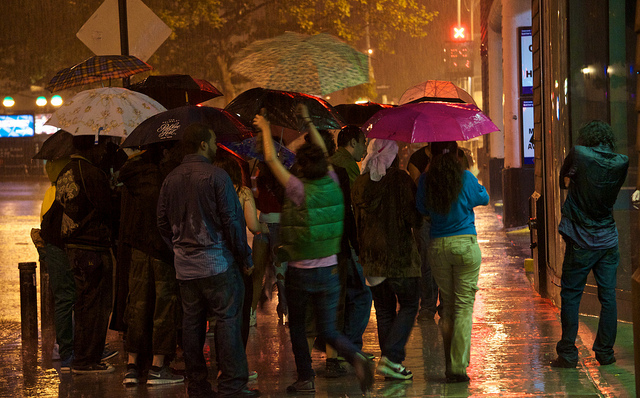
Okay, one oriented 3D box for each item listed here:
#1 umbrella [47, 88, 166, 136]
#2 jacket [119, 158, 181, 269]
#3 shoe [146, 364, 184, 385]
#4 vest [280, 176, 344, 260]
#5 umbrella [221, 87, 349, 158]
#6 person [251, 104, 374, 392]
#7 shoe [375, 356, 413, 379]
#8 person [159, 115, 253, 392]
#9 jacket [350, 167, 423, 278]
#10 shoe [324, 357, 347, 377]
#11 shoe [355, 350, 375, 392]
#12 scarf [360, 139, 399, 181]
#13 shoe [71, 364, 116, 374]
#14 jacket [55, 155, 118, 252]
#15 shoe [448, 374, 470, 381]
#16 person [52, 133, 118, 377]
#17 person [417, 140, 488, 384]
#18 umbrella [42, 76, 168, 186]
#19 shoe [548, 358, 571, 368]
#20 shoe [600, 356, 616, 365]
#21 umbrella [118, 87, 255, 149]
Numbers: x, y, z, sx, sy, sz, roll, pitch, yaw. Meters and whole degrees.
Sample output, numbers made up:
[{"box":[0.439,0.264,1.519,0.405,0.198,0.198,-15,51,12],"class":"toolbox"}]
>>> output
[{"box":[-2.944,-1.342,12.659,1.615,0.575,1.662,-13,23,-25],"class":"umbrella"},{"box":[-2.354,0.190,12.000,0.746,1.473,0.345,1,9,15],"class":"jacket"},{"box":[-2.132,2.465,12.154,0.536,0.279,0.201,1,-4,-11],"class":"shoe"},{"box":[-0.115,0.224,10.993,0.844,1.070,0.579,-4,11,-5],"class":"vest"},{"box":[-0.522,-1.329,12.690,1.179,0.807,1.153,13,-3,20],"class":"umbrella"},{"box":[-0.069,0.707,11.136,1.425,3.787,0.446,2,10,23],"class":"person"},{"box":[1.012,2.354,11.979,0.654,0.306,0.242,10,-22,-37],"class":"shoe"},{"box":[-1.504,0.798,11.473,1.086,3.529,0.582,0,9,10],"class":"person"},{"box":[0.942,0.341,12.083,0.990,1.474,0.907,-6,-3,29],"class":"jacket"},{"box":[0.220,2.337,12.093,0.313,0.259,0.115,-2,9,-1],"class":"shoe"},{"box":[0.591,2.108,11.033,0.205,0.595,0.245,-10,-2,-3],"class":"shoe"},{"box":[0.847,-0.527,11.836,0.682,0.263,0.481,-30,-25,15],"class":"scarf"},{"box":[-3.207,2.412,12.369,0.553,0.216,0.206,-1,-2,-10],"class":"shoe"},{"box":[-3.325,0.086,12.591,0.907,1.479,1.071,-3,0,-36],"class":"jacket"},{"box":[1.865,2.402,11.766,0.274,0.097,0.048,0,9,6],"class":"shoe"},{"box":[-3.230,0.792,12.323,0.754,3.359,0.442,-4,9,-16],"class":"person"},{"box":[1.778,0.925,11.683,0.874,3.104,0.372,0,9,9],"class":"person"},{"box":[-2.983,-1.085,12.516,1.180,1.112,1.233,1,6,13],"class":"umbrella"},{"box":[3.276,2.265,12.103,0.118,0.122,0.339,-10,13,-42],"class":"shoe"},{"box":[4.021,2.252,12.141,0.100,0.104,0.105,2,2,37],"class":"shoe"},{"box":[-1.919,-1.032,12.522,1.833,0.951,1.727,-2,-2,-42],"class":"umbrella"}]
